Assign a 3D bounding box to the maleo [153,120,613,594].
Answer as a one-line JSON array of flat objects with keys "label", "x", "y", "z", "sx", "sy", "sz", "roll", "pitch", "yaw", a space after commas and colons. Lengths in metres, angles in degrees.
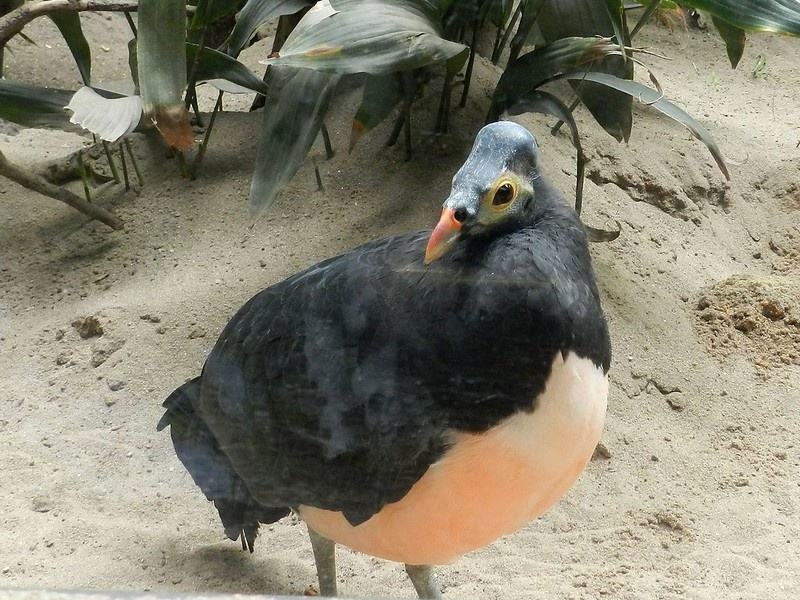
[{"label": "maleo", "x": 0.002, "y": 0.230, "z": 3.961, "sx": 1.282, "sy": 1.390, "sz": 0.762, "roll": 5, "pitch": 45, "yaw": -9}]
